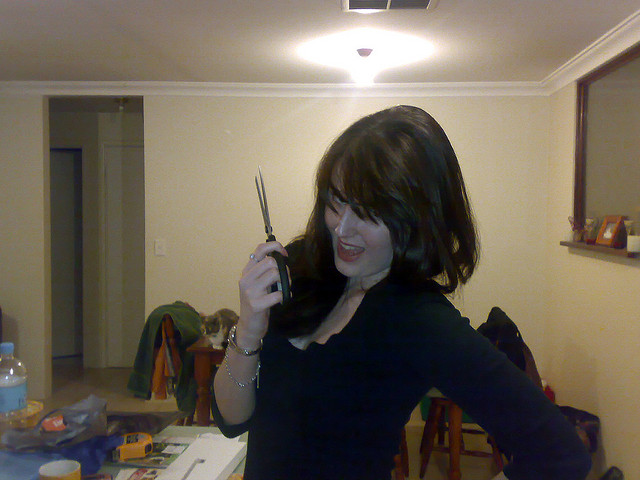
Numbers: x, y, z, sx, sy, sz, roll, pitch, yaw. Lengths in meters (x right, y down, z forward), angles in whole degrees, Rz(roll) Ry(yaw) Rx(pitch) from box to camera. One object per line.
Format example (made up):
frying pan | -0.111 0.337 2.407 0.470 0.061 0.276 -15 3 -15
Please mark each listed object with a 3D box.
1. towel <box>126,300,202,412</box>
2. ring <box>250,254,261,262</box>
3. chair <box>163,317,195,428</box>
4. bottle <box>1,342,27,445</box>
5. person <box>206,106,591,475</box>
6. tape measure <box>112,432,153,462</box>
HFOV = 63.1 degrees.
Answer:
towel | -0.890 0.582 2.740 0.411 0.458 0.392 17 -24 -19
ring | -0.149 0.043 1.235 0.027 0.008 0.021 44 -5 -15
chair | -0.692 0.679 2.557 0.188 0.558 0.193 5 11 -15
bottle | -0.959 0.456 1.631 0.072 0.268 0.338 1 12 -31
person | 0.170 0.159 1.192 0.820 0.901 0.246 11 11 20
tape measure | -0.550 0.607 1.535 0.112 0.064 0.059 5 11 -18
